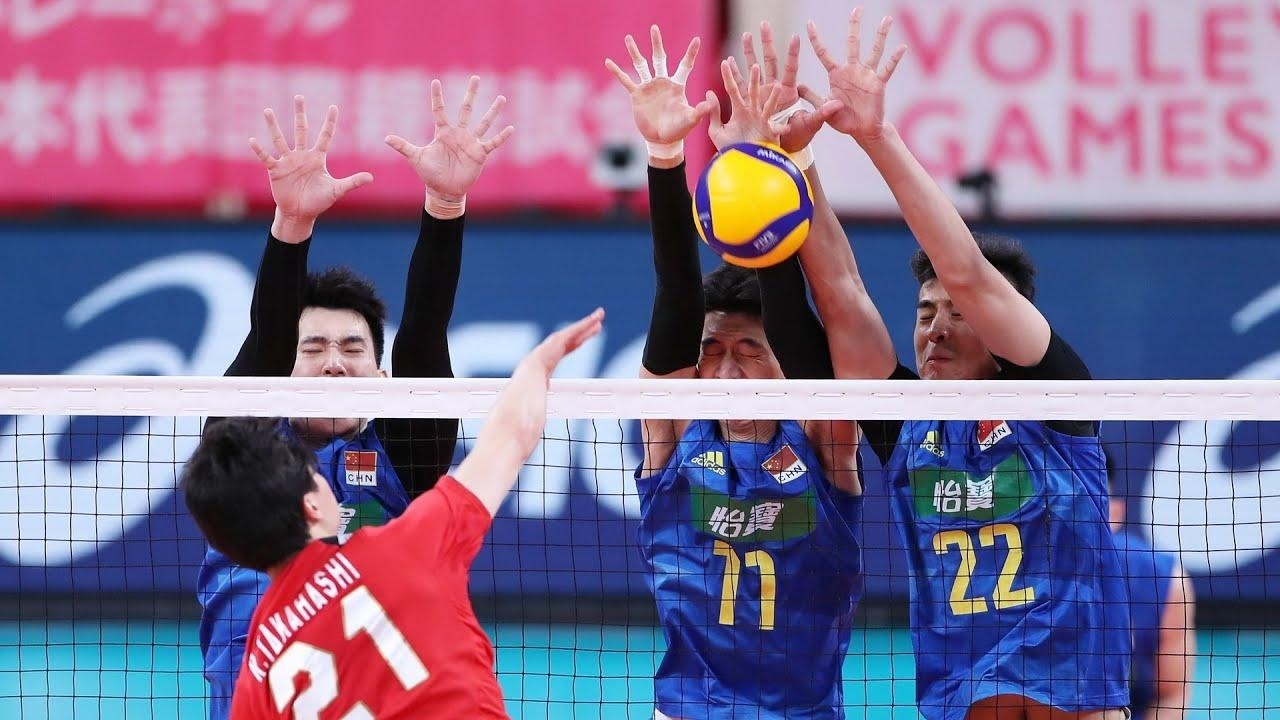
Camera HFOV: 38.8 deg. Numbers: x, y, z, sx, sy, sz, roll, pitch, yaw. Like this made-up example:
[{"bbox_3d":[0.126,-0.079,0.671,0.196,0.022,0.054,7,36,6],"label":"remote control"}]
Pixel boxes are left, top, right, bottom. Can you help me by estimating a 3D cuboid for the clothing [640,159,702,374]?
[{"bbox_3d":[0.225,-0.669,13.465,0.466,1.438,0.525,-3,23,3],"label":"clothing"}]
